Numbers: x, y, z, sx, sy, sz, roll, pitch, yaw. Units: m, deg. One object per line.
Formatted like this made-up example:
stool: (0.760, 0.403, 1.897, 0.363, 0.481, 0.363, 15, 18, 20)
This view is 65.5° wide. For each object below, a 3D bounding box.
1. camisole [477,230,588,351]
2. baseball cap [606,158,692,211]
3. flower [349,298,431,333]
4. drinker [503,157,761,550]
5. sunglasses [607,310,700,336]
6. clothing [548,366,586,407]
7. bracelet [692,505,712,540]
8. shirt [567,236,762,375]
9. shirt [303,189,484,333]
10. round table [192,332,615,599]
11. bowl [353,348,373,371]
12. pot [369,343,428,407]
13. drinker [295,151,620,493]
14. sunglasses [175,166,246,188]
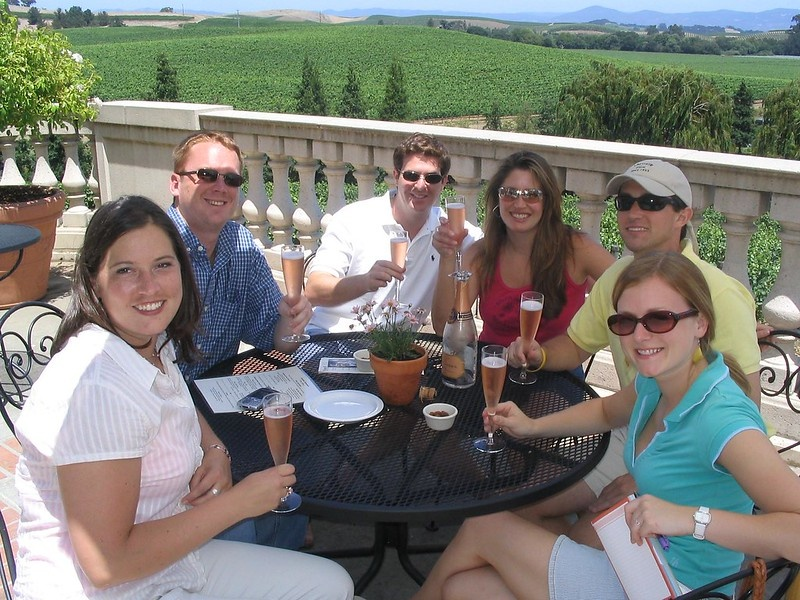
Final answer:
camisole: (0.598, -0.099, 3.315, 0.568, 0.771, 0.409, 2, 8, 27)
baseball cap: (1.082, -0.526, 2.784, 0.210, 0.188, 0.395, -16, 25, -34)
flower: (-0.056, 0.069, 2.716, 0.228, 0.142, 0.229, 1, 7, -26)
drinker: (0.984, 0.164, 2.762, 1.037, 1.571, 0.888, 0, 2, 33)
sunglasses: (0.823, 0.077, 2.024, 0.273, 0.107, 0.098, 6, 21, 18)
clothing: (0.746, 0.381, 2.677, 0.132, 0.127, 0.163, -3, 10, -3)
bracelet: (0.825, 0.610, 1.702, 0.046, 0.086, 0.075, 7, -18, 24)
shirt: (1.020, 0.022, 2.454, 0.340, 0.605, 0.745, -4, 9, -34)
shirt: (-0.013, -0.187, 3.323, 0.824, 0.638, 0.361, 17, 4, -21)
round table: (0.061, 0.861, 2.622, 1.133, 0.595, 1.188, 1, 22, 0)
bowl: (-0.161, 0.259, 2.741, 0.082, 0.056, 0.084, 0, 10, 0)
pot: (-0.010, 0.303, 2.496, 0.230, 0.210, 0.228, 2, 13, -1)
drinker: (0.289, 0.164, 3.409, 1.272, 1.898, 1.160, 5, 57, 5)
sunglasses: (-0.938, -0.596, 3.051, 0.303, 0.105, 0.166, -8, 22, -17)
